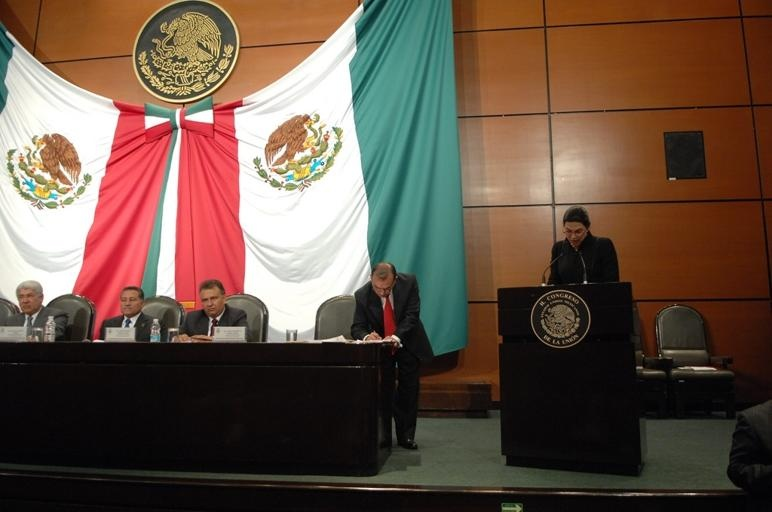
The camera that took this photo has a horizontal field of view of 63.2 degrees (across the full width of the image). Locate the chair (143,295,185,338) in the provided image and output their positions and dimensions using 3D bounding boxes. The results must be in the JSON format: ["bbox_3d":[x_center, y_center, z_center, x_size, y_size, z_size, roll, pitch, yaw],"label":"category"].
[{"bbox_3d":[-1.965,0.565,5.687,0.332,0.466,0.377,0,-17,-3],"label":"chair"}]

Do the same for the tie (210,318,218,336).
[{"bbox_3d":[-1.412,0.581,5.135,0.031,0.131,0.128,6,-5,-15],"label":"tie"}]

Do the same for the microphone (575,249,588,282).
[{"bbox_3d":[1.566,0.080,4.975,0.051,0.249,0.096,1,-6,-7],"label":"microphone"}]

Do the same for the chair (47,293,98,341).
[{"bbox_3d":[-2.791,0.539,5.576,0.463,0.399,0.221,-2,-6,20],"label":"chair"}]

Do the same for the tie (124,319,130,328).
[{"bbox_3d":[-2.304,0.594,5.579,0.046,0.060,0.022,3,-11,15],"label":"tie"}]

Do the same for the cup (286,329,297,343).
[{"bbox_3d":[-0.743,0.613,4.828,0.082,0.084,0.084,-1,-4,0],"label":"cup"}]

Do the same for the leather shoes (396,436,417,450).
[{"bbox_3d":[0.169,1.535,5.135,0.147,0.064,0.068,-5,-8,28],"label":"leather shoes"}]

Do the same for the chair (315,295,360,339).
[{"bbox_3d":[-0.456,0.543,5.592,0.313,0.468,0.391,0,-10,5],"label":"chair"}]

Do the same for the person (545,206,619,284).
[{"bbox_3d":[1.707,-0.085,5.410,0.592,0.912,0.469,-6,-12,36],"label":"person"}]
